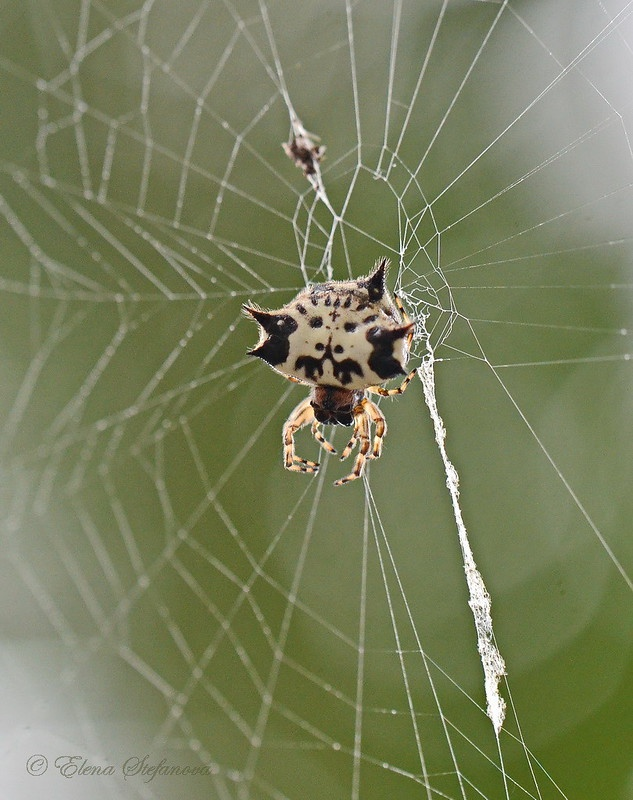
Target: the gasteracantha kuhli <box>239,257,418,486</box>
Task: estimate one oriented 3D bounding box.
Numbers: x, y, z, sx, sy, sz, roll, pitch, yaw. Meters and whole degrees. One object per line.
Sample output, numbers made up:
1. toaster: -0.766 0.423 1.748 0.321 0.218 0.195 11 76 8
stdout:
1. gasteracantha kuhli: 0.144 -0.192 3.279 0.747 1.027 1.086 0 -86 27
